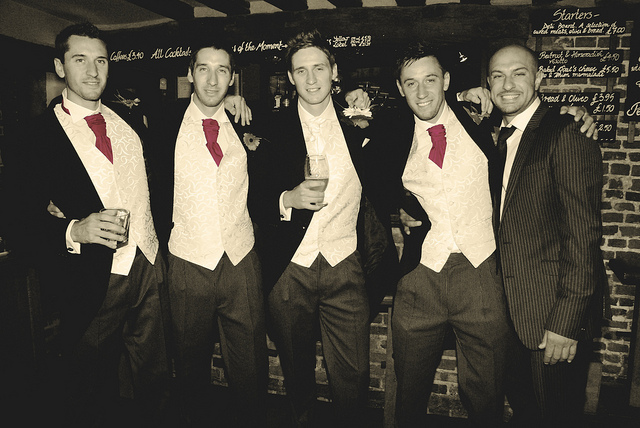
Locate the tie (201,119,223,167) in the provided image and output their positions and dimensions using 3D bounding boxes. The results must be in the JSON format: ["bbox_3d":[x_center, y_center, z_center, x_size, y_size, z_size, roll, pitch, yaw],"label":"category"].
[{"bbox_3d":[-0.901,-0.596,5.247,0.140,0.399,0.058,-10,0,3],"label":"tie"}]

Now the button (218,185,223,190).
[{"bbox_3d":[-0.839,-0.221,5.186,0.038,0.033,0.009,-5,-3,-12],"label":"button"}]

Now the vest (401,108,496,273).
[{"bbox_3d":[1.042,-0.130,5.070,0.726,1.152,0.355,1,8,5],"label":"vest"}]

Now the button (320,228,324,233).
[{"bbox_3d":[0.014,0.132,5.130,0.031,0.031,0.007,-2,9,-17],"label":"button"}]

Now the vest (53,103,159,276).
[{"bbox_3d":[-1.739,-0.209,5.259,0.659,1.404,0.376,3,9,15],"label":"vest"}]

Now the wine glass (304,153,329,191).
[{"bbox_3d":[-0.044,-0.328,4.898,0.151,0.279,0.229,-4,10,-25],"label":"wine glass"}]

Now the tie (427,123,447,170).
[{"bbox_3d":[0.956,-0.544,5.042,0.158,0.348,0.095,1,8,4],"label":"tie"}]

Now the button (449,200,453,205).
[{"bbox_3d":[1.054,-0.089,4.987,0.037,0.034,0.007,-1,-7,5],"label":"button"}]

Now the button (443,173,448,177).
[{"bbox_3d":[1.016,-0.314,5.015,0.035,0.031,0.008,2,-6,0],"label":"button"}]

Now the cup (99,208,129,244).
[{"bbox_3d":[-1.607,0.100,4.868,0.202,0.289,0.132,-3,9,-21],"label":"cup"}]

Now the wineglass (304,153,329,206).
[{"bbox_3d":[-0.044,-0.326,4.898,0.151,0.283,0.229,-4,10,-25],"label":"wineglass"}]

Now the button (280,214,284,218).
[{"bbox_3d":[-0.313,0.017,5.136,0.031,0.028,0.007,2,-1,15],"label":"button"}]

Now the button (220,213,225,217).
[{"bbox_3d":[-0.823,0.008,5.177,0.034,0.028,0.008,-2,-5,-12],"label":"button"}]

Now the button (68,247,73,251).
[{"bbox_3d":[-2.038,0.283,5.046,0.040,0.024,0.008,1,7,-13],"label":"button"}]

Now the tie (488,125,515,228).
[{"bbox_3d":[1.412,-0.322,4.827,0.229,0.703,0.100,3,1,3],"label":"tie"}]

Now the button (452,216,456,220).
[{"bbox_3d":[1.073,0.033,4.969,0.031,0.029,0.007,-1,-10,1],"label":"button"}]

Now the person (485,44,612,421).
[{"bbox_3d":[1.710,0.171,4.794,0.904,2.911,0.457,8,12,43],"label":"person"}]

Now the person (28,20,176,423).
[{"bbox_3d":[-1.775,0.135,5.331,0.947,3.428,0.941,2,9,14],"label":"person"}]

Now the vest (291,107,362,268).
[{"bbox_3d":[0.074,-0.202,5.135,0.355,1.276,0.466,7,11,39],"label":"vest"}]

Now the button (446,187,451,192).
[{"bbox_3d":[1.038,-0.195,5.001,0.034,0.032,0.008,-1,-9,1],"label":"button"}]
